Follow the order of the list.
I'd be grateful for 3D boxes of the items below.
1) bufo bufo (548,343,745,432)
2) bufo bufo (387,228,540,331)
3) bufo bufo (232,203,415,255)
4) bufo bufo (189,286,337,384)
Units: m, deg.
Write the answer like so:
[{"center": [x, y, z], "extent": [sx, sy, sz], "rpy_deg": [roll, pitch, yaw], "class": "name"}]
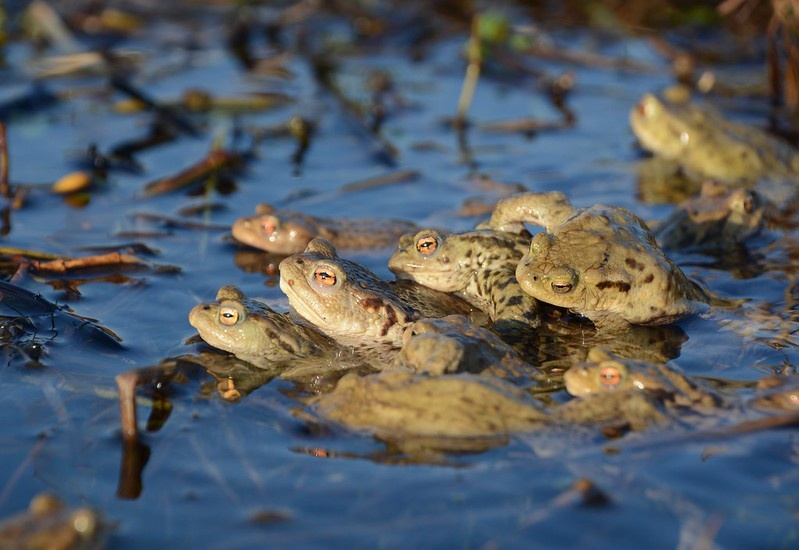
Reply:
[{"center": [1.256, 0.587, 4.670], "extent": [0.737, 0.199, 0.466], "rpy_deg": [1, 5, 5], "class": "bufo bufo"}, {"center": [0.433, -0.027, 5.520], "extent": [0.742, 0.245, 0.801], "rpy_deg": [8, 15, 14], "class": "bufo bufo"}, {"center": [-0.583, -0.321, 6.662], "extent": [0.995, 0.237, 0.570], "rpy_deg": [-3, 9, -15], "class": "bufo bufo"}, {"center": [-0.798, 0.348, 5.176], "extent": [0.809, 0.241, 0.435], "rpy_deg": [15, 13, -20], "class": "bufo bufo"}]
